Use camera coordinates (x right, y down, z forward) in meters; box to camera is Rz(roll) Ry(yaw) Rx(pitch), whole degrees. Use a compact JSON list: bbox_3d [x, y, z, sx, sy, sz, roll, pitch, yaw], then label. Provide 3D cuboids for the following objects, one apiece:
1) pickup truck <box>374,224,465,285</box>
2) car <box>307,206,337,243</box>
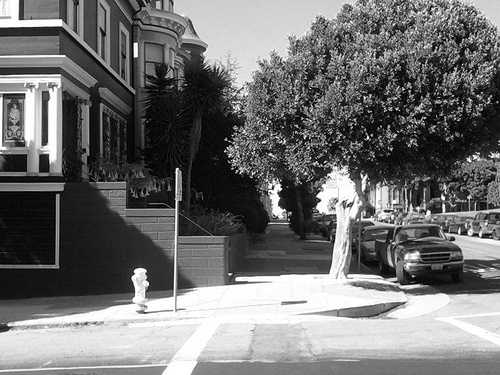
[{"bbox_3d":[5.350,2.197,16.631,1.447,1.184,2.971,-2,-7,-3],"label":"pickup truck"},{"bbox_3d":[6.337,3.269,42.663,1.642,1.658,4.007,1,2,1],"label":"car"}]
